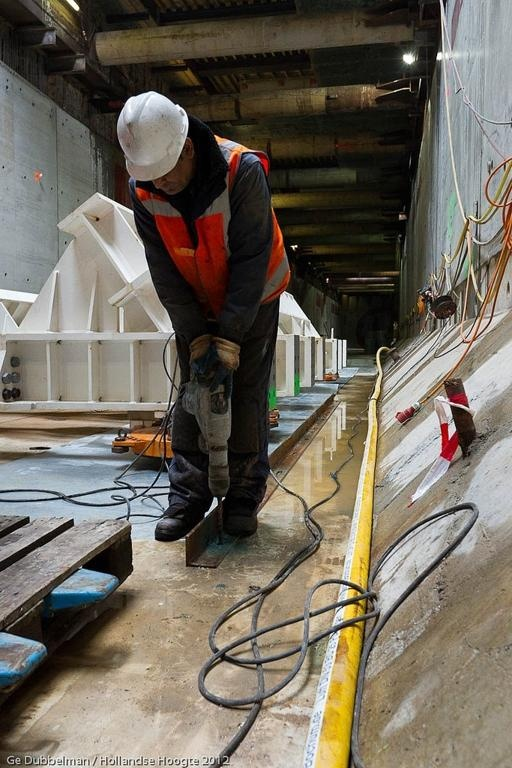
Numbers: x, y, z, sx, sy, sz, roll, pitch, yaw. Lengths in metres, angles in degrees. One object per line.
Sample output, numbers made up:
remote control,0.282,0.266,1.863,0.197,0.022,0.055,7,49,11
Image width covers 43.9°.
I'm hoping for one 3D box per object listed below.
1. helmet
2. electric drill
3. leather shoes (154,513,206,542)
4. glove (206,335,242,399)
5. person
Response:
helmet,-0.331,-0.813,2.057,0.217,0.300,0.155,1,5,-7
electric drill,-0.185,0.138,2.304,0.189,0.547,0.146,2,5,6
leather shoes,-0.300,0.553,2.476,0.077,0.093,0.238,1,-13,15
glove,-0.123,-0.054,2.285,0.128,0.221,0.153,3,-9,5
person,-0.306,-0.028,2.427,0.688,1.741,0.705,1,2,35
